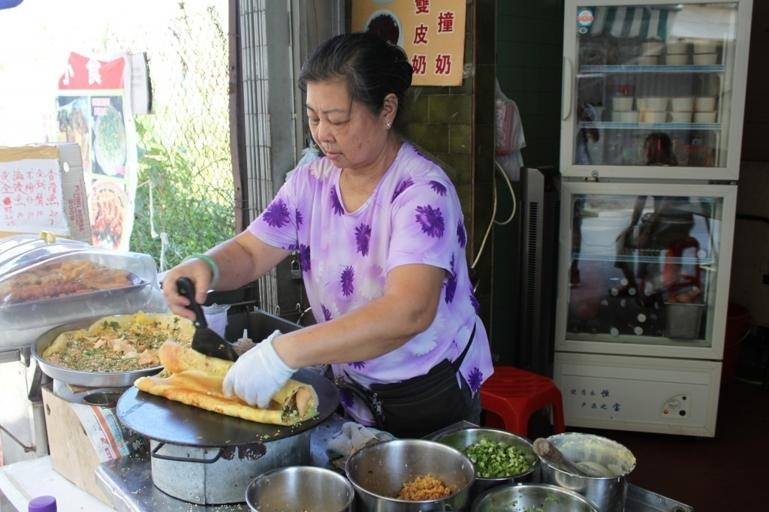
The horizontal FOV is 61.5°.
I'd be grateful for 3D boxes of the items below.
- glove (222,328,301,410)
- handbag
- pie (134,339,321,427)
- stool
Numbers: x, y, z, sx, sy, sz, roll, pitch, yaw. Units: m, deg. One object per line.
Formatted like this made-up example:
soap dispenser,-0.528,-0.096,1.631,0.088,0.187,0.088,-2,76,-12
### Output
glove,-0.463,0.428,2.426,0.309,0.220,0.128,-33,-22,9
handbag,0.104,0.531,2.867,0.509,0.367,0.412,-15,-5,3
pie,-0.638,0.497,2.552,0.700,0.215,0.315,15,2,22
stool,0.897,0.874,4.179,0.494,0.513,0.492,-12,11,-40
